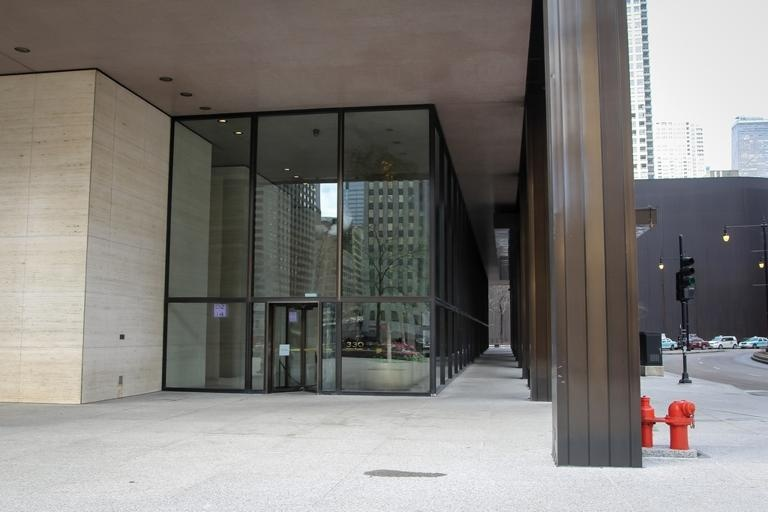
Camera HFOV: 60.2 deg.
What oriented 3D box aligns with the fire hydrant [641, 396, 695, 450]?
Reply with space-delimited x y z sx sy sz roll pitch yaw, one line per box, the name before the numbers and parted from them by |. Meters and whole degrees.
fire hydrant | 4.405 2.628 10.286 0.778 0.817 1.103 -5 -7 20
